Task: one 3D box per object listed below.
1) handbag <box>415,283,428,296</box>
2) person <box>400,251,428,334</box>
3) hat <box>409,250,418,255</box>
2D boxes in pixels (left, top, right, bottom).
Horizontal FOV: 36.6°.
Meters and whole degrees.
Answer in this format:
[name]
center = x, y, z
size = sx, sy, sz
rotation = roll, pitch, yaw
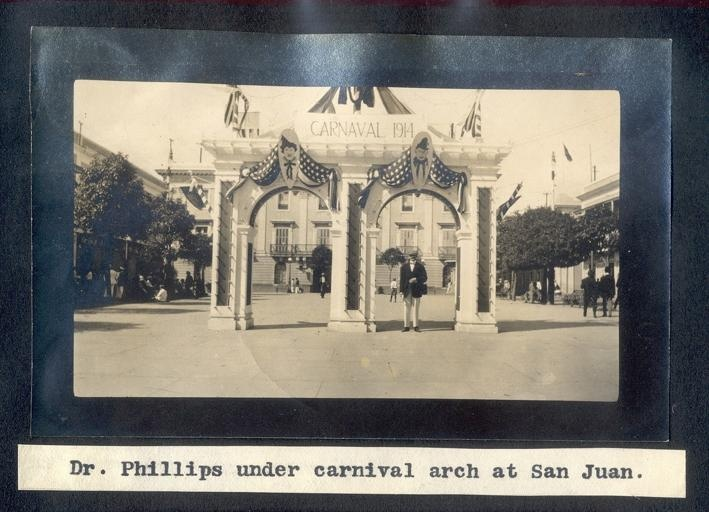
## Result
[handbag]
center = 1.033, 0.527, 16.534
size = 0.128, 0.197, 0.383
rotation = 0, -5, 13
[person]
center = 0.905, 0.571, 16.741
size = 0.404, 1.234, 1.095
rotation = 1, -5, 3
[hat]
center = 0.886, -0.046, 16.261
size = 0.081, 0.087, 0.059
rotation = 0, -2, 10
